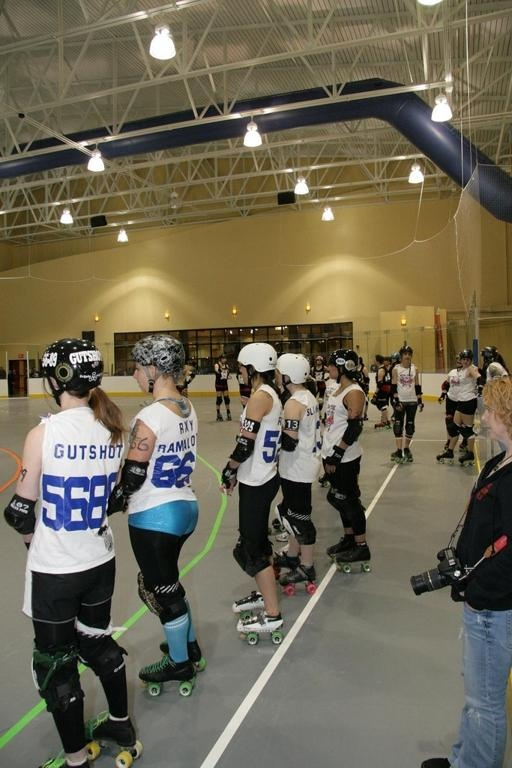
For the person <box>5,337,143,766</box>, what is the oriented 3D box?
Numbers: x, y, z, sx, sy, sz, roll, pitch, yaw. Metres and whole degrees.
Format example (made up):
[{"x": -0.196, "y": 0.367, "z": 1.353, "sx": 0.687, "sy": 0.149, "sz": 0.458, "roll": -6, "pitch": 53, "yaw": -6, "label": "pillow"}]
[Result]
[{"x": -0.627, "y": 0.643, "z": 1.777, "sx": 0.263, "sy": 1.599, "sz": 0.404, "roll": 0, "pitch": 5, "yaw": 21, "label": "person"}]
